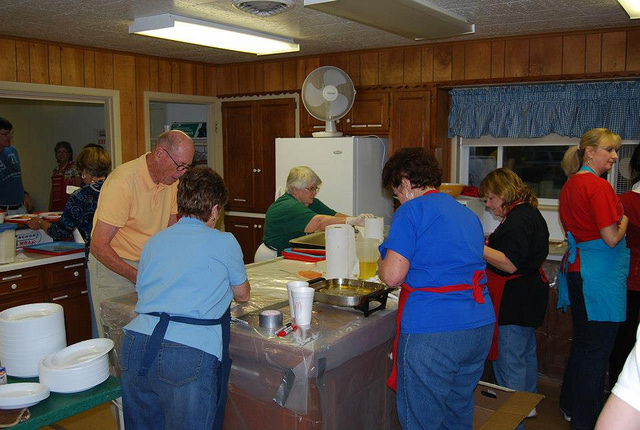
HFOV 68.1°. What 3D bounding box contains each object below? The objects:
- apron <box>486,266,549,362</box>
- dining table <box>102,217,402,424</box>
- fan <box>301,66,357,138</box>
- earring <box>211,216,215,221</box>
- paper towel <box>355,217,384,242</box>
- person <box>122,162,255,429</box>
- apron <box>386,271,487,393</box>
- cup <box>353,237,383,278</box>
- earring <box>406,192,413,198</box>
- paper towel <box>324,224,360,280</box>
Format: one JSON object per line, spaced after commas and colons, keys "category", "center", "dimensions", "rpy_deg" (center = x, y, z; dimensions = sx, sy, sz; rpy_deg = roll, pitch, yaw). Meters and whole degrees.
{"category": "apron", "center": [1.269, 0.688, 3.267], "dimensions": [0.502, 0.674, 0.262], "rpy_deg": [-5, 10, -28]}
{"category": "dining table", "center": [-0.355, 0.573, 2.476], "dimensions": [0.707, 0.867, 1.301], "rpy_deg": [3, 8, 30]}
{"category": "fan", "center": [0.089, -1.313, 5.094], "dimensions": [0.536, 0.546, 0.090], "rpy_deg": [1, 9, 10]}
{"category": "earring", "center": [-0.523, 0.013, 2.333], "dimensions": [0.015, 0.021, 0.006], "rpy_deg": [-3, -6, -26]}
{"category": "paper towel", "center": [0.352, 0.086, 3.354], "dimensions": [0.186, 0.194, 0.113], "rpy_deg": [-1, 3, 3]}
{"category": "person", "center": [-0.638, 0.421, 2.274], "dimensions": [0.618, 1.269, 0.370], "rpy_deg": [-4, 10, -23]}
{"category": "apron", "center": [0.594, 0.603, 2.567], "dimensions": [0.424, 0.671, 0.469], "rpy_deg": [8, 13, 26]}
{"category": "cup", "center": [0.304, 0.261, 3.149], "dimensions": [0.211, 0.267, 0.247], "rpy_deg": [2, 3, 32]}
{"category": "earring", "center": [0.476, -0.110, 2.519], "dimensions": [0.032, 0.027, 0.009], "rpy_deg": [0, 9, 4]}
{"category": "paper towel", "center": [0.144, 0.226, 3.034], "dimensions": [0.172, 0.337, 0.220], "rpy_deg": [8, 10, 27]}
